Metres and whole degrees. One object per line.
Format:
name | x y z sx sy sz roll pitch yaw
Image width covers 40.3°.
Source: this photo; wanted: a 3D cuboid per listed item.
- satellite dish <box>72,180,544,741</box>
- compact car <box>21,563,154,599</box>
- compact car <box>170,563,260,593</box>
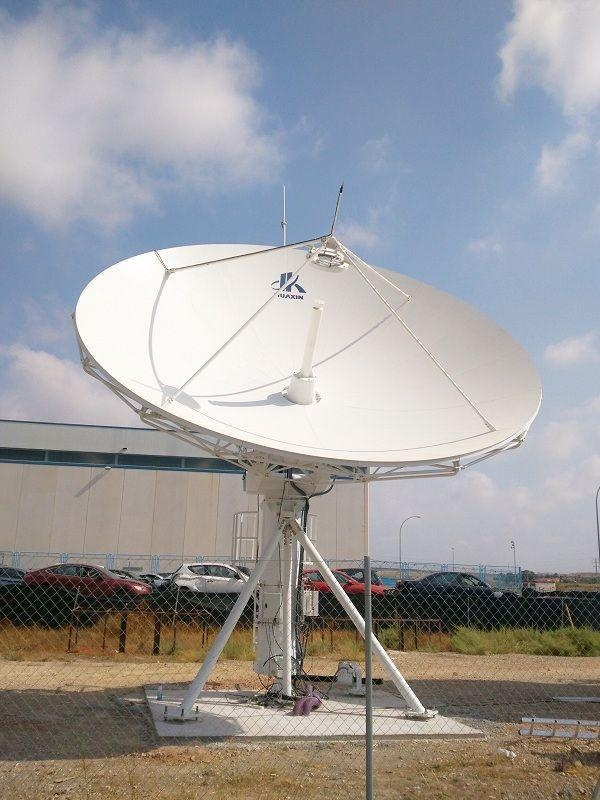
satellite dish | 0.071 0.742 11.705 6.002 7.262 3.562 6 -9 -25
compact car | -5.468 4.708 21.315 2.948 0.887 1.255 2 -42 4
compact car | -2.325 4.730 21.581 2.016 0.604 1.035 0 6 0
